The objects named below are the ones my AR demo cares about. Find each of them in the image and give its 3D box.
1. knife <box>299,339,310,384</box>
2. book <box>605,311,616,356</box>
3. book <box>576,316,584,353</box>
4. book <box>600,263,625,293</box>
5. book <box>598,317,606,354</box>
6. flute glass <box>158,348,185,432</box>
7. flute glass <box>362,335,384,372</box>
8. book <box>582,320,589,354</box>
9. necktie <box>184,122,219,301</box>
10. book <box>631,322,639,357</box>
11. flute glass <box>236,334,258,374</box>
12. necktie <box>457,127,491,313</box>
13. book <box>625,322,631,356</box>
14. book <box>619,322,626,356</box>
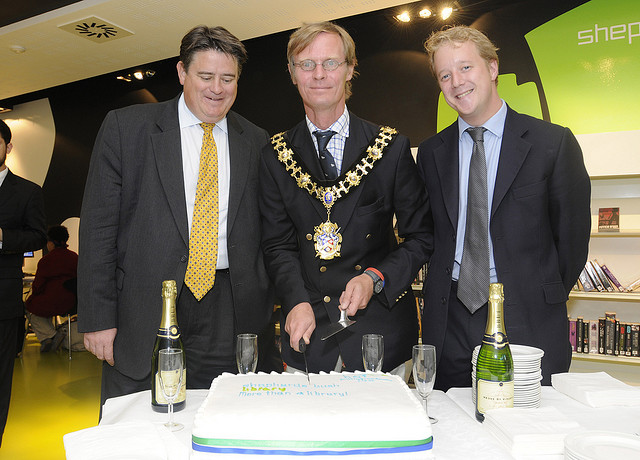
[{"bbox_3d":[-0.075,0.603,2.234,0.044,0.219,0.018,-7,2,-32],"label":"knife"},{"bbox_3d":[2.716,0.999,4.568,0.089,0.344,0.025,-3,-3,29],"label":"book"},{"bbox_3d":[2.492,1.011,4.680,0.065,0.320,0.066,-3,-3,29],"label":"book"},{"bbox_3d":[2.827,0.456,4.714,0.188,0.261,0.336,-3,-3,31],"label":"book"},{"bbox_3d":[2.657,1.004,4.592,0.076,0.330,0.032,-3,-3,30],"label":"book"},{"bbox_3d":[-0.552,0.585,1.815,0.095,0.281,0.145,2,-4,-43],"label":"flute glass"},{"bbox_3d":[0.209,0.488,1.943,0.077,0.139,0.088,-1,-3,1],"label":"flute glass"},{"bbox_3d":[2.538,1.028,4.655,0.066,0.300,0.033,-2,-3,19],"label":"book"},{"bbox_3d":[-0.613,-0.107,2.498,0.167,0.919,0.096,0,-3,-16],"label":"necktie"},{"bbox_3d":[2.895,1.021,4.474,0.060,0.297,0.053,-2,-3,15],"label":"book"},{"bbox_3d":[-0.300,0.498,1.961,0.080,0.151,0.116,-3,-3,32],"label":"flute glass"},{"bbox_3d":[0.754,-0.063,2.416,0.157,0.915,0.133,-2,-3,18],"label":"necktie"},{"bbox_3d":[2.851,1.016,4.502,0.066,0.295,0.032,-3,-3,31],"label":"book"},{"bbox_3d":[2.810,1.020,4.525,0.062,0.298,0.024,-3,-3,31],"label":"book"}]
